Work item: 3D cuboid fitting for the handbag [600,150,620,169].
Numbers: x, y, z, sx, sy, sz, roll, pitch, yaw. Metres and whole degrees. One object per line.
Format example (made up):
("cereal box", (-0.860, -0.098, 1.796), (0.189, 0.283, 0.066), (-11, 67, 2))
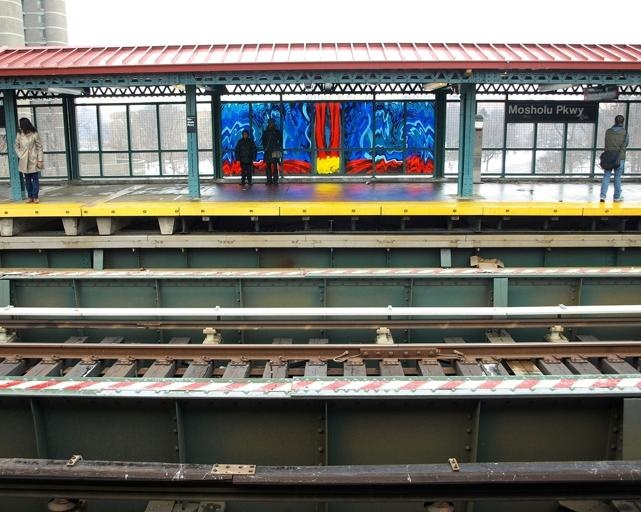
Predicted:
("handbag", (6.313, -2.130, 18.005), (0.256, 0.444, 0.355), (-1, -79, -29))
